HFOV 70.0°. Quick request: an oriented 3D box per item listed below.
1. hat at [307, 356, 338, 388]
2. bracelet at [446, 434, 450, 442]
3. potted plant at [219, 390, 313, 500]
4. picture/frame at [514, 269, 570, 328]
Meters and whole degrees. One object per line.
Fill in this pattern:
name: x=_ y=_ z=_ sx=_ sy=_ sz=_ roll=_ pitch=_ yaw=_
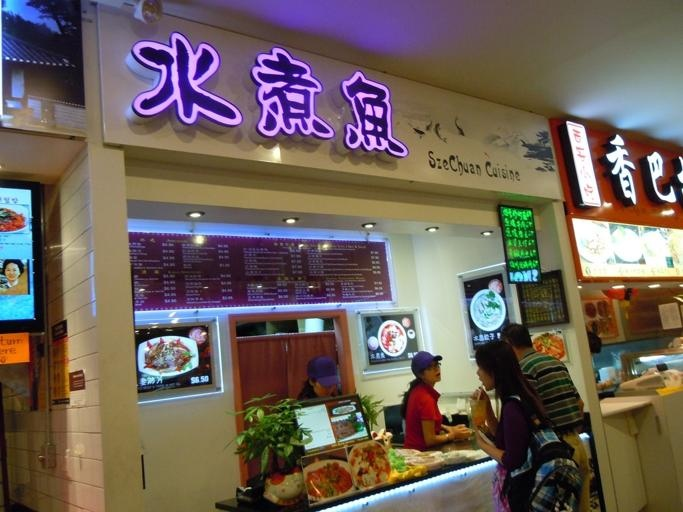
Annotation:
hat: x=-0.139 y=0.851 z=3.627 sx=0.166 sy=0.135 sz=0.229 roll=1 pitch=3 yaw=-33
bracelet: x=0.840 y=1.449 z=3.869 sx=0.033 sy=0.027 sz=0.034 roll=-3 pitch=0 yaw=42
potted plant: x=-0.526 y=1.234 z=3.345 sx=0.447 sy=0.610 sz=1.255 roll=-3 pitch=-9 yaw=-17
picture/frame: x=2.020 y=0.420 z=4.843 sx=0.489 sy=0.632 sz=0.064 roll=-9 pitch=-10 yaw=44
